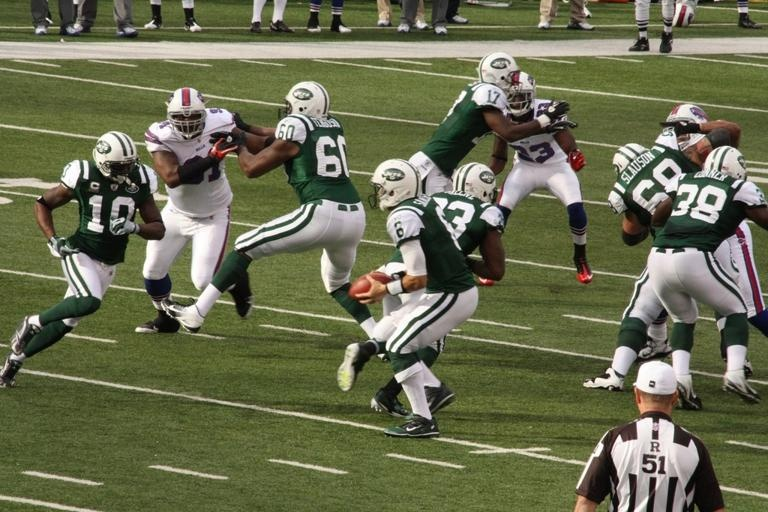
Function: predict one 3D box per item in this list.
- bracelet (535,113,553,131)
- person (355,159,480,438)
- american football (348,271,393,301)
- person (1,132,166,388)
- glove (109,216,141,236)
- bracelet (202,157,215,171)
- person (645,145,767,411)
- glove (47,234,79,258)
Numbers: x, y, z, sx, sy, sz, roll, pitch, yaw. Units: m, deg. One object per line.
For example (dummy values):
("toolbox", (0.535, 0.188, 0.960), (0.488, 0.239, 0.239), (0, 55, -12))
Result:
("bracelet", (1.427, -1.188, 11.466), (0.135, 0.097, 0.140), (-12, -17, 17))
("person", (0.225, 0.301, 9.344), (0.832, 1.915, 0.739), (15, 17, 29))
("american football", (-0.132, 0.214, 9.354), (0.318, 0.159, 0.177), (-22, -2, 11))
("person", (-2.319, 0.001, 9.854), (0.728, 1.887, 1.252), (16, 17, 31))
("glove", (-1.967, -0.220, 9.791), (0.225, 0.149, 0.170), (0, 14, -20))
("bracelet", (-1.399, -0.741, 10.445), (0.126, 0.085, 0.112), (-9, 9, 0))
("person", (2.481, 0.182, 9.777), (1.026, 1.952, 0.713), (9, 15, 11))
("glove", (-2.441, -0.068, 9.790), (0.164, 0.155, 0.203), (-6, 17, -39))
